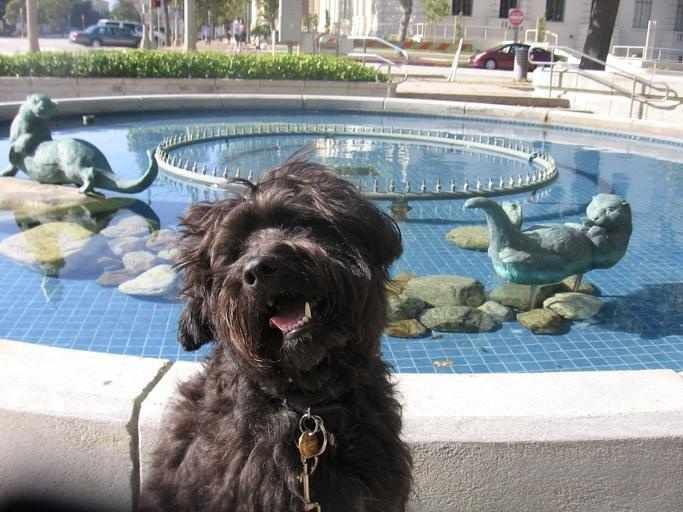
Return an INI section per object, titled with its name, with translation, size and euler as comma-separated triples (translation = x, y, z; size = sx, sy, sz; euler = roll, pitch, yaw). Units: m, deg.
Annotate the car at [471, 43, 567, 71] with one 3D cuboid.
[car]
translation = 9.903, -11.631, 32.485
size = 3.500, 1.510, 8.257
euler = 2, 20, 0
